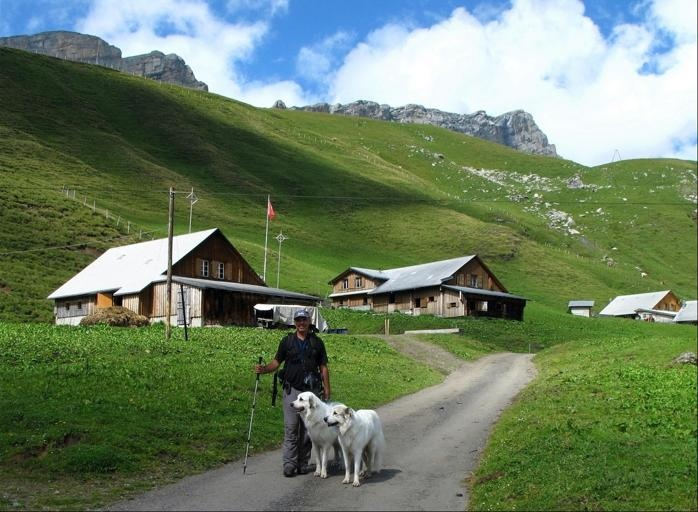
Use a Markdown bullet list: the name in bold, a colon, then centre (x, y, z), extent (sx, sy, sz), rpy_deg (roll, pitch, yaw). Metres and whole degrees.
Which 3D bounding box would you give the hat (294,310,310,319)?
- **hat**: centre (-1.525, 1.885, 20.827), extent (0.438, 0.220, 0.506), rpy_deg (3, 1, -9)

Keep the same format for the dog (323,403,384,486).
- **dog**: centre (0.249, 5.900, 20.676), extent (0.970, 2.395, 3.094), rpy_deg (-5, -8, 24)
